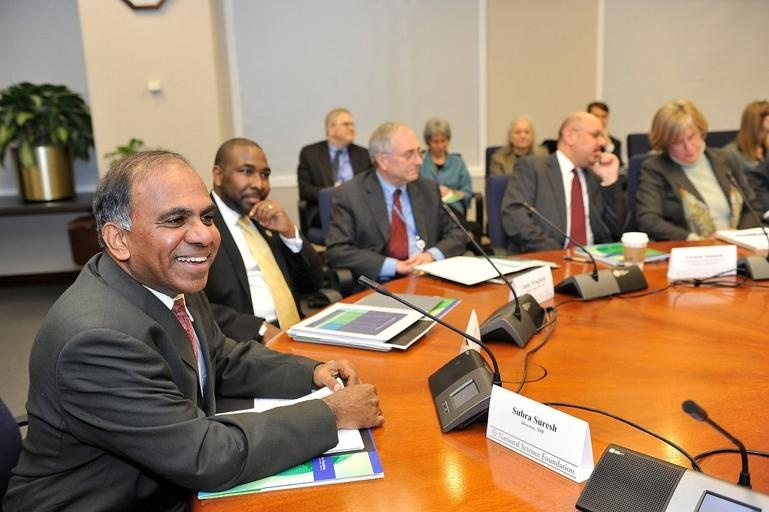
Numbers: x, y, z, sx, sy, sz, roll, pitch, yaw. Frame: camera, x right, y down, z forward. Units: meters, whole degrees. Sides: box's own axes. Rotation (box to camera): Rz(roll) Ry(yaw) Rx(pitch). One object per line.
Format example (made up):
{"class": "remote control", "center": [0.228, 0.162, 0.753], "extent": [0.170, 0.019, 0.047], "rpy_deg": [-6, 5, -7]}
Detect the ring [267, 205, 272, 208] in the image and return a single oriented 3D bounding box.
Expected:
{"class": "ring", "center": [-0.564, -0.243, 2.758], "extent": [0.016, 0.017, 0.004], "rpy_deg": [-36, -1, -5]}

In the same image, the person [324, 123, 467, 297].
{"class": "person", "center": [0.089, 0.024, 3.516], "extent": [0.878, 1.614, 0.749], "rpy_deg": [-1, 23, -2]}

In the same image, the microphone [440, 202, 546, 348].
{"class": "microphone", "center": [0.370, 0.049, 2.055], "extent": [0.253, 0.503, 0.277], "rpy_deg": [-12, 11, 29]}

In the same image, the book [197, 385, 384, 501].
{"class": "book", "center": [-0.248, 0.569, 1.568], "extent": [0.487, 0.065, 0.185], "rpy_deg": [-7, 9, -1]}

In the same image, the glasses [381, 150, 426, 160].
{"class": "glasses", "center": [0.105, -0.583, 3.261], "extent": [0.211, 0.060, 0.072], "rpy_deg": [-10, 10, -18]}
